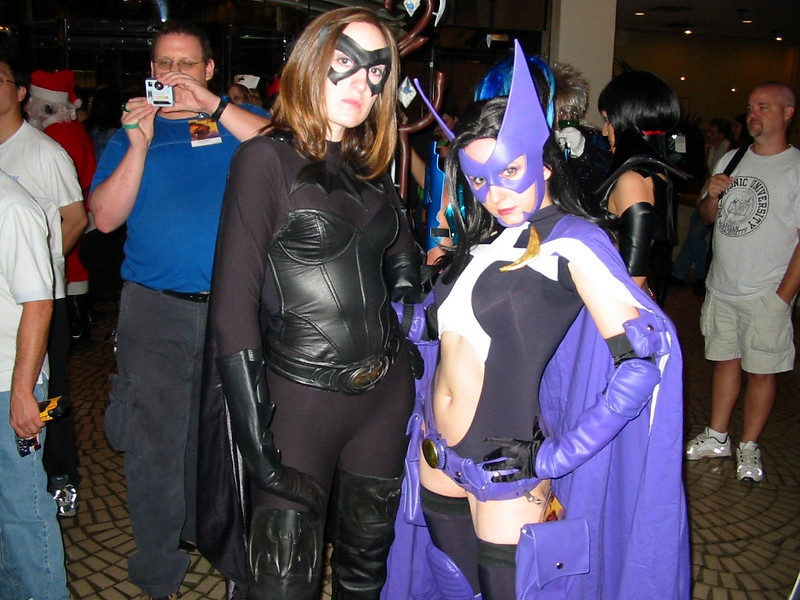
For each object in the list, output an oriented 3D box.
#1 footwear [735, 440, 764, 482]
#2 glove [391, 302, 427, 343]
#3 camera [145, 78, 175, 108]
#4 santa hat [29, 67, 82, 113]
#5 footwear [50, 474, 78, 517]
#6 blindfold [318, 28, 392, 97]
[{"bbox_3d":[2.110,0.960,4.081,0.108,0.134,0.310,1,19,17],"label":"footwear"},{"bbox_3d":[0.041,0.077,2.475,0.104,0.154,0.058,-4,5,3],"label":"glove"},{"bbox_3d":[-0.991,-0.859,2.785,0.110,0.109,0.057,-1,12,-20],"label":"camera"},{"bbox_3d":[-2.550,-1.588,4.914,0.418,0.274,0.280,16,-2,-21],"label":"santa hat"},{"bbox_3d":[-1.541,0.879,3.117,0.128,0.177,0.056,21,44,-30],"label":"footwear"},{"bbox_3d":[-0.133,-0.772,2.224,0.239,0.176,0.109,12,9,-14],"label":"blindfold"}]
